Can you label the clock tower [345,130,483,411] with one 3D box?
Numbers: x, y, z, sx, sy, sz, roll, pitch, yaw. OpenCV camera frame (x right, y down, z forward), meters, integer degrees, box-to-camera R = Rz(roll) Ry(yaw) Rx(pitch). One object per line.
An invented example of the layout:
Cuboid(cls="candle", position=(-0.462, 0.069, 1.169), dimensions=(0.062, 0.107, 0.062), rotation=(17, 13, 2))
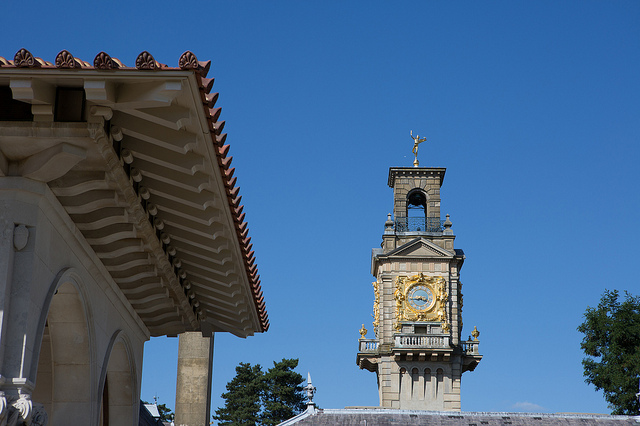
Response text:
Cuboid(cls="clock tower", position=(5.325, 3.515, 72.333), dimensions=(6.796, 16.068, 5.051), rotation=(-3, -20, 4))
